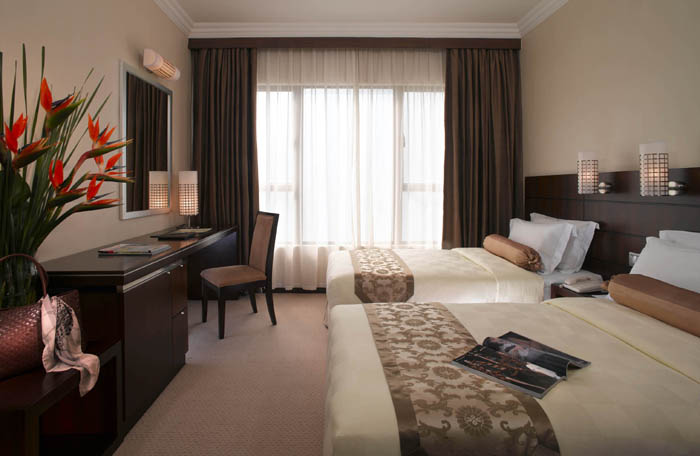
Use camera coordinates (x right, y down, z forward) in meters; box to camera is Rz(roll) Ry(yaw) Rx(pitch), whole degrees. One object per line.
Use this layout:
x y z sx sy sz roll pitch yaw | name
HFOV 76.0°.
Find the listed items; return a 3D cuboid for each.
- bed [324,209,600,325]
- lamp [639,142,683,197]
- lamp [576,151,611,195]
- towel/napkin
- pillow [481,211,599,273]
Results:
0.871 0.394 3.948 1.492 0.696 1.244 1 1 4 | bed
2.355 -0.437 3.383 0.299 0.420 0.178 11 19 39 | lamp
2.209 -0.458 4.046 0.338 0.374 0.195 6 -4 4 | lamp
-1.499 0.604 2.454 0.217 0.341 0.627 1 17 -26 | towel/napkin
1.806 0.112 4.140 0.196 0.581 0.579 27 -4 -33 | pillow
